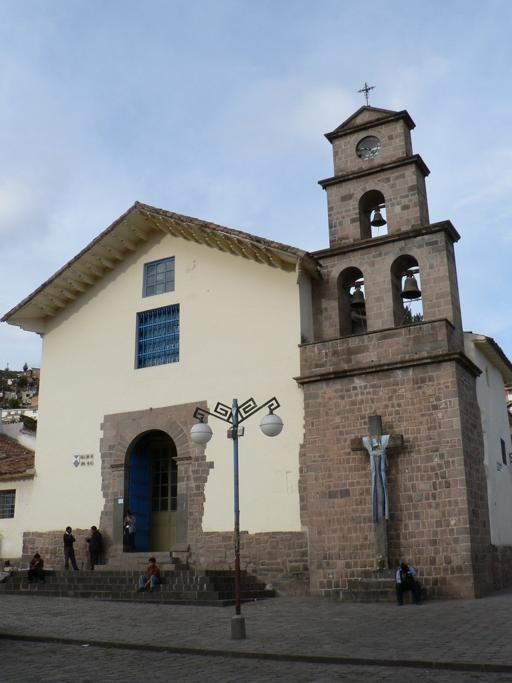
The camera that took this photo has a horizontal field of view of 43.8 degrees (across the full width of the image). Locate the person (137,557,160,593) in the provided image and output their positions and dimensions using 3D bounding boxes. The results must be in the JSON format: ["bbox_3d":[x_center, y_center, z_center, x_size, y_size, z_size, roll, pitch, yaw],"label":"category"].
[{"bbox_3d":[-2.548,5.553,15.240,0.537,0.734,0.476,2,-17,-9],"label":"person"}]

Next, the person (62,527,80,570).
[{"bbox_3d":[-5.583,6.168,19.151,0.462,1.230,1.129,3,-17,-15],"label":"person"}]

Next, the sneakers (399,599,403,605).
[{"bbox_3d":[2.777,4.999,12.229,0.065,0.052,0.208,-5,-16,12],"label":"sneakers"}]

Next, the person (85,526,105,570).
[{"bbox_3d":[-4.802,6.143,19.084,0.519,1.216,0.803,4,-17,-18],"label":"person"}]

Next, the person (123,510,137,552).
[{"bbox_3d":[-3.729,5.646,18.967,0.306,1.115,0.742,-6,-17,15],"label":"person"}]

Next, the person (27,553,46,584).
[{"bbox_3d":[-6.143,6.317,17.845,0.470,0.719,0.606,4,-17,-16],"label":"person"}]

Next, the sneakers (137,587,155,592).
[{"bbox_3d":[-2.609,5.828,14.991,0.473,0.110,0.206,-4,-16,10],"label":"sneakers"}]

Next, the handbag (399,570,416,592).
[{"bbox_3d":[2.951,4.640,12.407,0.328,0.385,0.155,-1,-17,-1],"label":"handbag"}]
